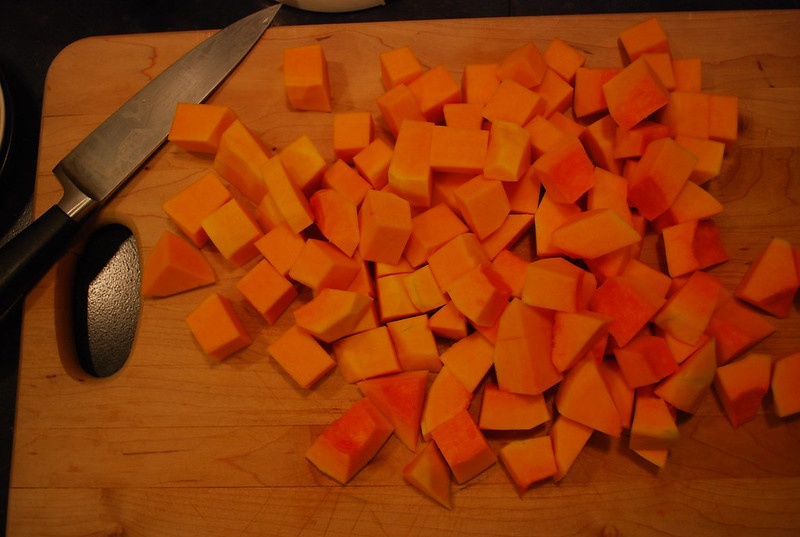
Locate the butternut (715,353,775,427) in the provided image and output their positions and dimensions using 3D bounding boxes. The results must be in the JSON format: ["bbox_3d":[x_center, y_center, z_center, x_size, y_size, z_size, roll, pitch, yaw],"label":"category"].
[{"bbox_3d":[1.305,0.453,2.455,0.271,0.253,0.106,14,3,6],"label":"butternut"}]
